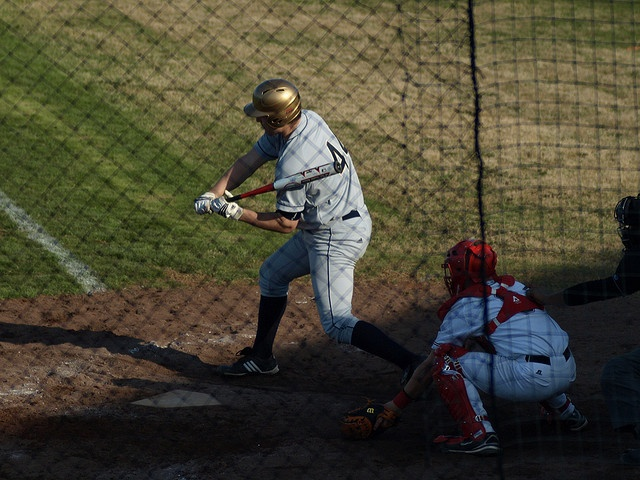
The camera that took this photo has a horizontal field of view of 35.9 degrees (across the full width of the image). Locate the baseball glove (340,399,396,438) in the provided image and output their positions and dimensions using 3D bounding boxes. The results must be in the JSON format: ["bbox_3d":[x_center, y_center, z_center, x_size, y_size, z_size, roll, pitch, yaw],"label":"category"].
[{"bbox_3d":[0.379,1.384,7.711,0.398,0.153,0.268,-20,16,-23],"label":"baseball glove"}]

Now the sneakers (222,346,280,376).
[{"bbox_3d":[-0.590,1.047,8.496,0.623,0.217,0.181,2,5,-8],"label":"sneakers"}]

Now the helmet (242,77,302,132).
[{"bbox_3d":[-0.367,-1.077,7.923,0.512,0.315,0.280,4,-34,-3],"label":"helmet"}]

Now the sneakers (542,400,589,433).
[{"bbox_3d":[1.919,1.378,7.763,0.107,0.216,0.322,-49,41,-13],"label":"sneakers"}]

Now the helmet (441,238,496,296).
[{"bbox_3d":[1.173,0.201,7.769,0.518,0.391,0.426,3,14,41],"label":"helmet"}]

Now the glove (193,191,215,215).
[{"bbox_3d":[-0.982,-0.306,8.217,0.097,0.119,0.200,11,42,4],"label":"glove"}]

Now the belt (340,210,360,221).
[{"bbox_3d":[0.243,-0.203,8.073,0.120,0.070,0.033,-14,-17,-34],"label":"belt"}]

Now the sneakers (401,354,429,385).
[{"bbox_3d":[0.723,1.018,7.840,0.132,0.305,0.107,37,-8,10],"label":"sneakers"}]
